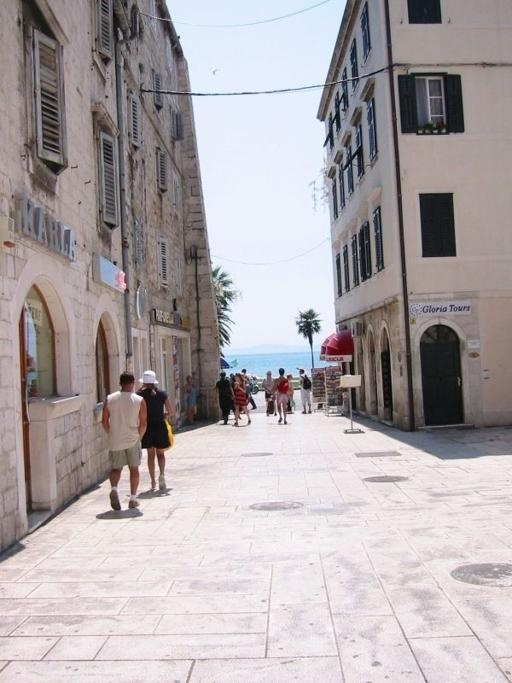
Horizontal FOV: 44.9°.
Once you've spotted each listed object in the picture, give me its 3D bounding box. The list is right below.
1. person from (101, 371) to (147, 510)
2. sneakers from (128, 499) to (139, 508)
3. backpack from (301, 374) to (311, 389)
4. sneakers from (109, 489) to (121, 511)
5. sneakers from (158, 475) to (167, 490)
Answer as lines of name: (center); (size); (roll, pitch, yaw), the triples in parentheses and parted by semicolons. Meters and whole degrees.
person: (-1.701, 1.249, 7.839); (0.423, 1.682, 0.711); (-3, -4, 30)
sneakers: (-1.520, 2.017, 7.646); (0.130, 0.099, 0.202); (-1, -4, -11)
backpack: (2.161, 1.736, 26.101); (0.386, 0.893, 0.557); (0, 4, -10)
sneakers: (-1.707, 1.919, 7.472); (0.099, 0.340, 0.126); (-9, 8, -9)
sneakers: (-1.354, 2.079, 8.945); (0.071, 0.243, 0.095); (-2, 23, -1)
